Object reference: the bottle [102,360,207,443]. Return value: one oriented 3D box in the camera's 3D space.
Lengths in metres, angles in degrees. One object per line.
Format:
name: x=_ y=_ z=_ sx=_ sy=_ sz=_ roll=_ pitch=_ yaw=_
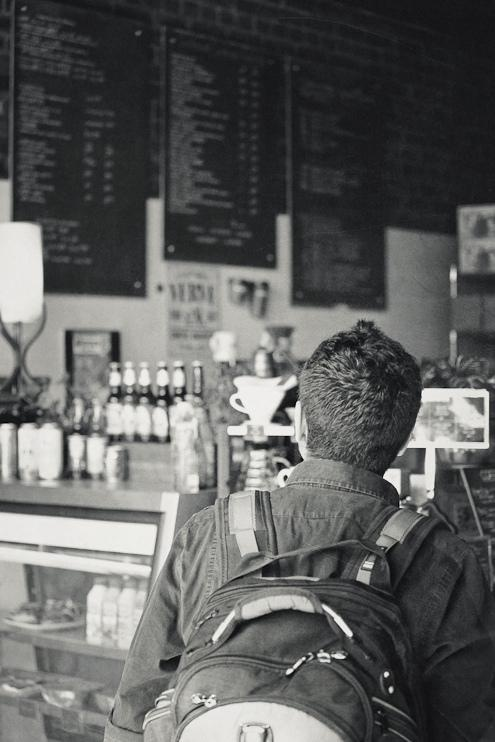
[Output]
bottle: x=-0.310 y=0.097 z=4.193 sx=0.284 sy=0.291 sz=0.272 roll=2 pitch=-2 yaw=-24
